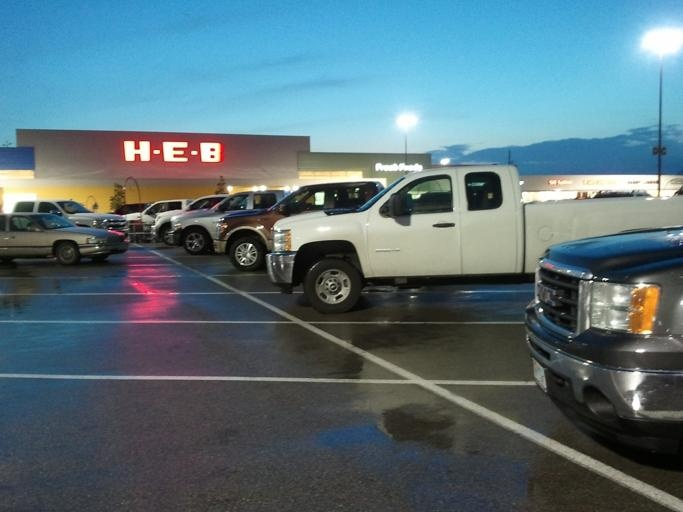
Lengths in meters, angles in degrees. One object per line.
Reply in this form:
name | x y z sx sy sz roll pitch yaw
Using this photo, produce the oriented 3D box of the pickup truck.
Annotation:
pickup truck | 1.996 -0.309 10.029 6.980 2.121 2.604 0 2 2
